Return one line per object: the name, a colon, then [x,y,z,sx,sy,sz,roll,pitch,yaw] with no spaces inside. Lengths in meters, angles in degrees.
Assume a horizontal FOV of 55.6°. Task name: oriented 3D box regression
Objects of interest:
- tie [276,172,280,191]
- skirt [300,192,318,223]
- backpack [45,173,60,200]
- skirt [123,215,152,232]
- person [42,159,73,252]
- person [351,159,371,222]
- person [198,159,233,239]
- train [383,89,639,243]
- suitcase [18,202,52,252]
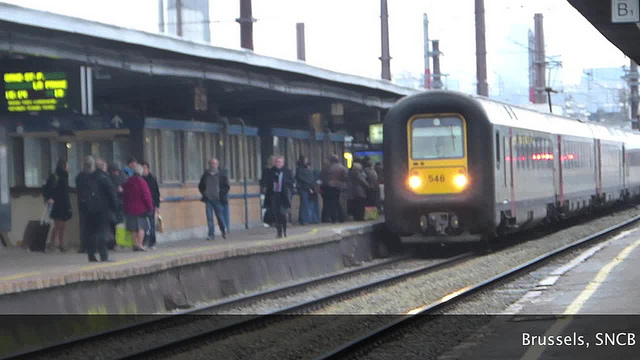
tie: [-1.216,0.052,17.690,0.075,0.517,0.125,3,8,1]
skirt: [-0.386,0.984,21.966,0.332,1.155,0.955,9,10,37]
backpack: [-7.316,0.184,16.716,0.457,0.605,0.598,4,-39,-11]
skirt: [-4.846,1.218,16.108,0.642,0.577,0.378,0,-9,-15]
person: [-7.188,0.703,16.994,0.815,2.511,0.840,1,0,-13]
person: [1.464,0.434,21.788,0.771,1.968,0.694,0,0,7]
person: [-3.051,0.605,18.156,0.996,2.490,0.985,0,0,-26]
train: [11.211,-0.501,27.294,3.092,5.978,26.150,10,10,38]
suitcase: [-7.957,1.383,16.980,0.671,1.557,0.637,0,0,-22]
